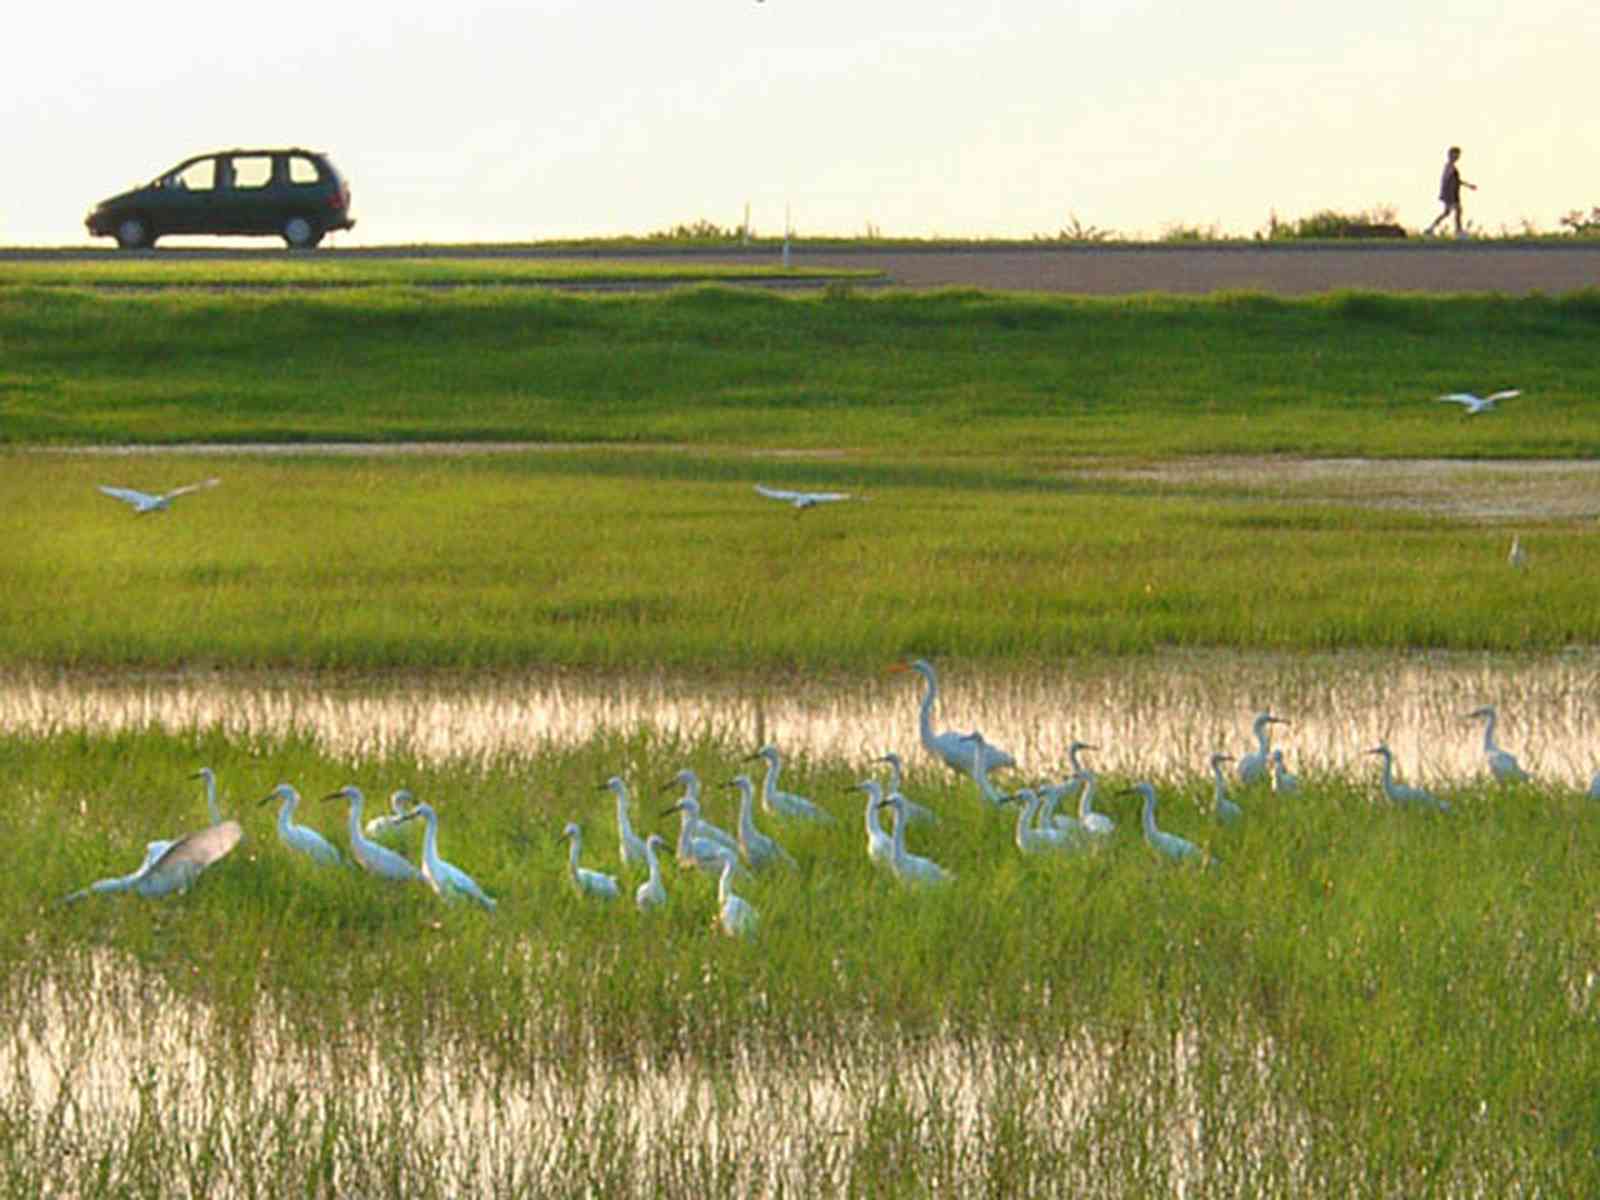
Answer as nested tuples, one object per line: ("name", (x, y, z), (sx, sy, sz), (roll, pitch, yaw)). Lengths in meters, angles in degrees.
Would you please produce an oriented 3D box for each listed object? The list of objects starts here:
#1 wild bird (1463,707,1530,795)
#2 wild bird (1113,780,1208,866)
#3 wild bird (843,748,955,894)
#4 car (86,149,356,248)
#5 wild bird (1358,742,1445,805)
("wild bird", (8.966, 1.947, 52.302), (0.789, 0.999, 2.235), (-2, -3, 10))
("wild bird", (4.465, 2.818, 50.025), (0.769, 1.057, 1.769), (-1, -3, -10))
("wild bird", (1.328, 2.911, 49.210), (1.410, 2.025, 0.725), (4, -42, -5))
("car", (-11.777, -7.692, 82.008), (4.953, 2.484, 2.499), (-1, -7, -7))
("wild bird", (7.648, 2.296, 51.526), (0.841, 0.789, 1.875), (-2, -3, 3))
